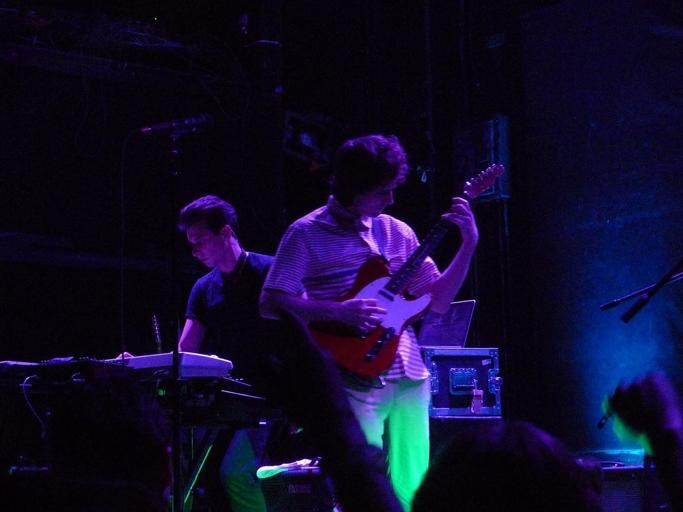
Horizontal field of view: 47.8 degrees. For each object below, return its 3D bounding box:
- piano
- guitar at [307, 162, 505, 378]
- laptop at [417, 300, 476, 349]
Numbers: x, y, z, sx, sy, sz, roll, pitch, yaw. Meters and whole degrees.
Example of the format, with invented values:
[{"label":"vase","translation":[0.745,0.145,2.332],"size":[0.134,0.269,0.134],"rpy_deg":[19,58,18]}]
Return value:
[{"label":"piano","translation":[-1.075,0.600,4.152],"size":[0.922,0.155,0.343],"rpy_deg":[-2,-6,-3]},{"label":"guitar","translation":[0.222,0.213,4.004],"size":[0.752,0.818,0.191],"rpy_deg":[0,-5,-24]},{"label":"laptop","translation":[0.812,0.544,5.934],"size":[0.370,0.297,0.421],"rpy_deg":[8,-12,-33]}]
